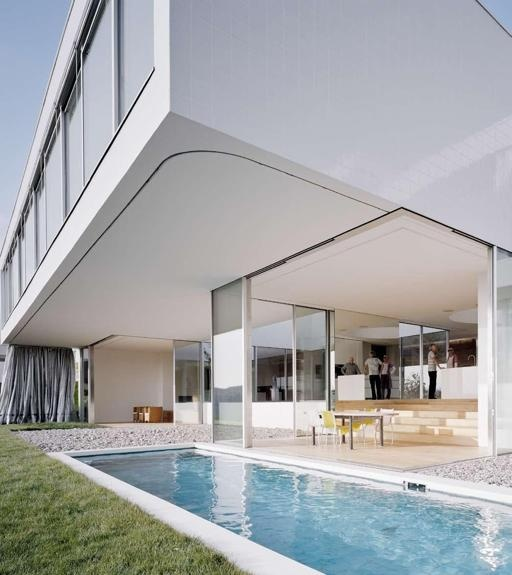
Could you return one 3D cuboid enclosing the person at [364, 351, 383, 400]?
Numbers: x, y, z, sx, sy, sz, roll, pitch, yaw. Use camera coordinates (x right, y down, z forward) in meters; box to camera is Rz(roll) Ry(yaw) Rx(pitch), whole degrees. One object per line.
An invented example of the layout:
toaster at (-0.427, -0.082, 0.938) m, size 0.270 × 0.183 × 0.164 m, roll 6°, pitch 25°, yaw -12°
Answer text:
person at (3.242, 2.423, 12.787) m, size 0.398 × 1.299 × 0.450 m, roll -3°, pitch -11°, yaw 13°
